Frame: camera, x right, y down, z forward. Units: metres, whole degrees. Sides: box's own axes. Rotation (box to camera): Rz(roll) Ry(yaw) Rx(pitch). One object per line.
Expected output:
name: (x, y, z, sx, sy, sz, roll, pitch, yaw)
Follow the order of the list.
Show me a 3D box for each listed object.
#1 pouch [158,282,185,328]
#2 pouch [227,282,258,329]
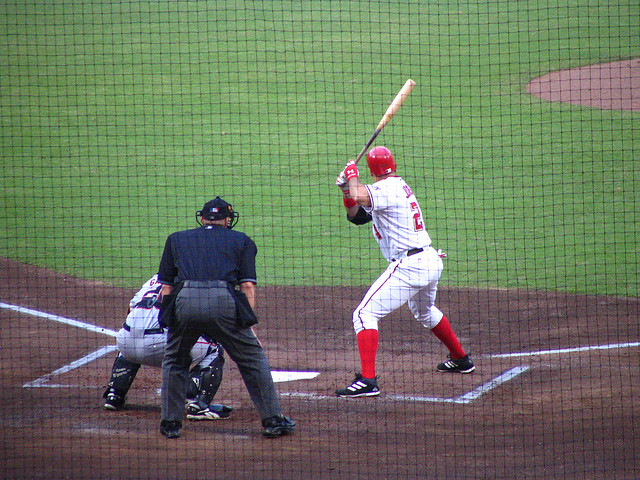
pouch: (-1.971, 0.861, 18.060, 0.405, 0.579, 0.127, -17, -19, 42)
pouch: (-1.035, 0.865, 18.063, 0.349, 0.623, 0.158, 6, -19, -38)
